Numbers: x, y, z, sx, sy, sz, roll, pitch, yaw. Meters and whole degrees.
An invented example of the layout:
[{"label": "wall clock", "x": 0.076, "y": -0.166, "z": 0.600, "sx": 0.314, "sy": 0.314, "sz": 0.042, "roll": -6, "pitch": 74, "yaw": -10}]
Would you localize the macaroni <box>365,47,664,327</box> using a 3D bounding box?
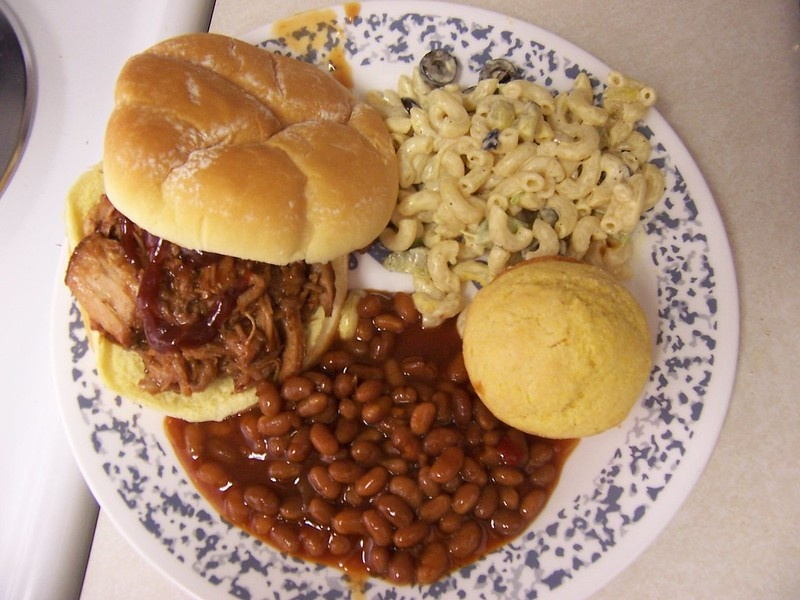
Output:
[{"label": "macaroni", "x": 0.665, "y": -0.658, "z": 4.426, "sx": 1.521, "sy": 0.969, "sz": 1.551, "roll": 9, "pitch": -58, "yaw": 21}]
